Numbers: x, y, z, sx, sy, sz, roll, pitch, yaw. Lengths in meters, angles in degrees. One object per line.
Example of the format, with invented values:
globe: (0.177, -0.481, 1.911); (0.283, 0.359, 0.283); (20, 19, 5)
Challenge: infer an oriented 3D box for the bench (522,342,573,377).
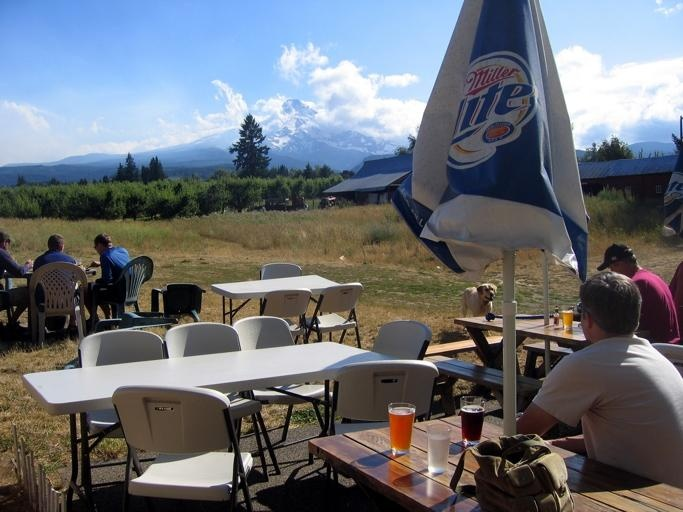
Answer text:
bench: (2.247, 1.163, 6.632); (0.489, 0.534, 0.503); (-1, -2, 39)
